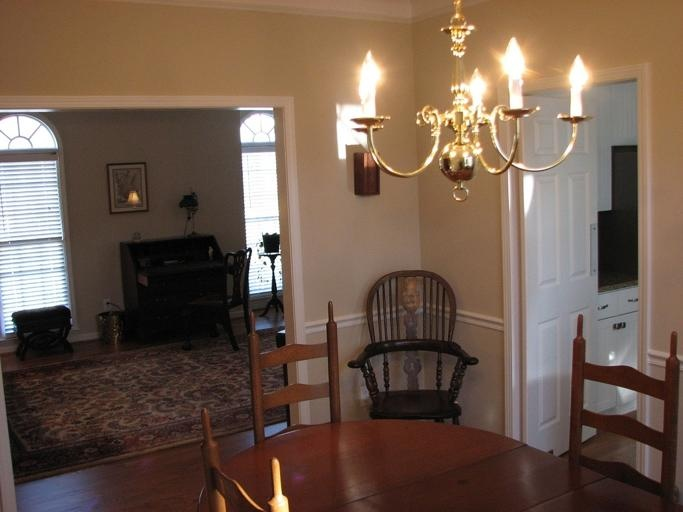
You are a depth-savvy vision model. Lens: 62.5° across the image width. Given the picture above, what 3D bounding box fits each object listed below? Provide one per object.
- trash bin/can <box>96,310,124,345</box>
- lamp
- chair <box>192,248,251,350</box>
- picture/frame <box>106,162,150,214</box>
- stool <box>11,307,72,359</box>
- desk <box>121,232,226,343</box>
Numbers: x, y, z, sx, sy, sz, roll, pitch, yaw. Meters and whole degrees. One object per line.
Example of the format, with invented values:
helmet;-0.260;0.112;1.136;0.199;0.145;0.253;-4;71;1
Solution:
trash bin/can;-2.768;0.836;6.674;0.359;0.425;0.355;-1;-1;12
lamp;0.797;-0.975;3.453;1.324;1.454;1.303;-2;9;-12
chair;-1.453;0.472;6.636;0.686;1.105;0.652;5;7;36
picture/frame;-2.635;-0.846;6.919;0.567;0.792;0.027;-4;3;-32
stool;-3.413;0.862;6.476;0.574;0.541;0.347;-7;10;-33
desk;-1.967;0.317;6.885;1.036;1.062;0.805;-10;4;3
